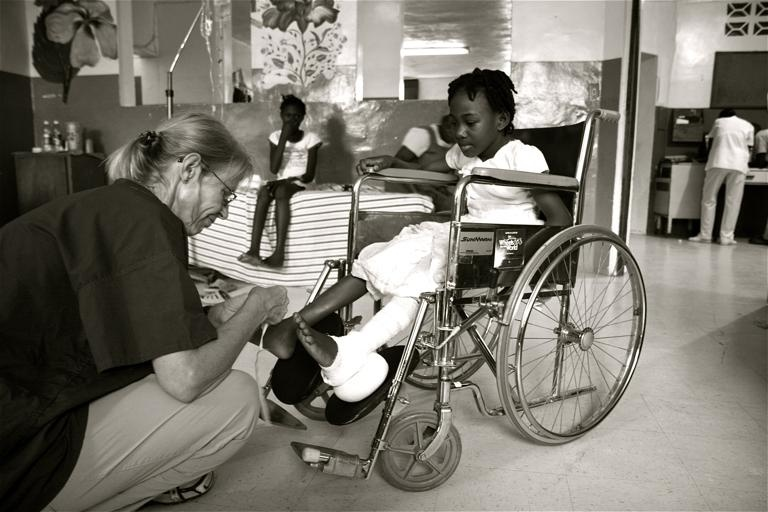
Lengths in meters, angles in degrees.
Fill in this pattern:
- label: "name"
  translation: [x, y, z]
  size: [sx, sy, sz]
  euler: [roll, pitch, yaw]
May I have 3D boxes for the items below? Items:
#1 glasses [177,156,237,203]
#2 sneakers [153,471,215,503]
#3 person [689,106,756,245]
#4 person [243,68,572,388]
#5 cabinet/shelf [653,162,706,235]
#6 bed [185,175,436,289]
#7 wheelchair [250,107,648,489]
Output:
- label: "glasses"
  translation: [-0.559, -0.226, 2.001]
  size: [0.147, 0.042, 0.143]
  euler: [43, -15, -28]
- label: "sneakers"
  translation: [-0.693, 0.781, 2.133]
  size: [0.138, 0.051, 0.109]
  euler: [-4, -9, -43]
- label: "person"
  translation: [3.799, -0.840, 6.889]
  size: [0.482, 1.385, 0.445]
  euler: [8, 16, 26]
- label: "person"
  translation: [0.217, -0.095, 2.758]
  size: [1.533, 1.507, 0.885]
  euler: [0, 2, -29]
- label: "cabinet/shelf"
  translation: [3.659, -0.712, 7.523]
  size: [0.490, 0.844, 0.878]
  euler: [2, 8, 12]
- label: "bed"
  translation: [-0.646, -0.247, 4.392]
  size: [1.368, 0.383, 0.834]
  euler: [5, 13, 12]
- label: "wheelchair"
  translation: [0.337, 0.068, 2.672]
  size: [1.624, 1.316, 1.614]
  euler: [3, 9, 15]
